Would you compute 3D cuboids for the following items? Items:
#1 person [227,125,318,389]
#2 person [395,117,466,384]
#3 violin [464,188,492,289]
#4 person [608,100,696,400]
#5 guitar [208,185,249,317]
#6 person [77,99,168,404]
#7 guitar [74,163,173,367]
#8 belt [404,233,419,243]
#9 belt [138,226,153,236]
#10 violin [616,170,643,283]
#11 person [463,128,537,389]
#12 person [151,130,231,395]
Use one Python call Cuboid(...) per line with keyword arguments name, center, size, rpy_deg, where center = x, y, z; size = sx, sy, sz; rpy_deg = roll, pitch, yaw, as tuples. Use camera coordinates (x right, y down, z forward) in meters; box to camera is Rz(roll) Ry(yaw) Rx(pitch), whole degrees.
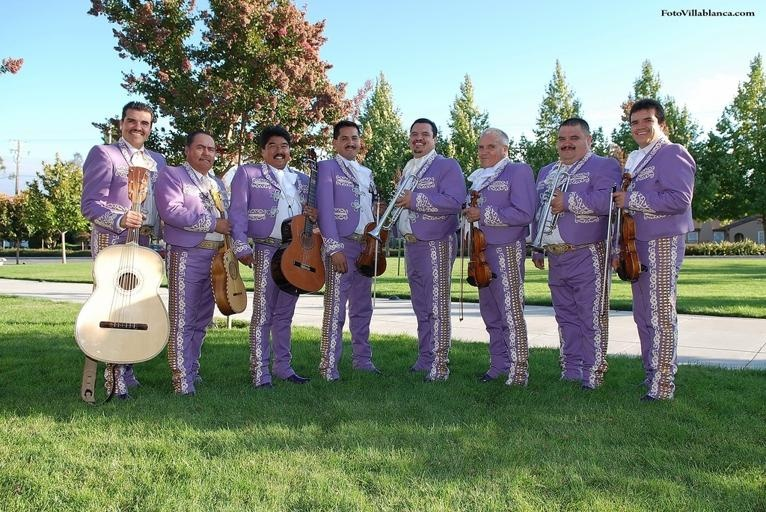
Cuboid(name="person", center=(-1.393, -0.058, 10.540), size=(1.352, 3.413, 1.149), rpy_deg=(0, -2, -5))
Cuboid(name="person", center=(0.555, -0.087, 10.562), size=(0.854, 3.365, 1.132), rpy_deg=(1, -2, -23))
Cuboid(name="violin", center=(1.161, -0.190, 9.979), size=(0.211, 1.131, 0.419), rpy_deg=(-10, 5, -16))
Cuboid(name="person", center=(3.265, -0.118, 9.672), size=(0.860, 3.530, 0.596), rpy_deg=(1, 0, 20))
Cuboid(name="guitar", center=(-1.922, -0.050, 9.979), size=(0.481, 1.549, 0.512), rpy_deg=(0, -2, -12))
Cuboid(name="person", center=(-3.133, -0.236, 10.070), size=(0.891, 3.160, 1.109), rpy_deg=(15, 15, 33))
Cuboid(name="guitar", center=(-3.027, 0.110, 9.570), size=(1.022, 2.492, 0.366), rpy_deg=(5, -22, -17))
Cuboid(name="belt", center=(0.346, -0.235, 10.354), size=(0.119, 0.120, 0.036), rpy_deg=(-5, 12, 43))
Cuboid(name="belt", center=(-2.942, -0.315, 9.927), size=(0.110, 0.110, 0.033), rpy_deg=(-7, 10, -44))
Cuboid(name="violin", center=(2.902, -0.315, 9.611), size=(0.285, 1.227, 0.320), rpy_deg=(0, -1, -2))
Cuboid(name="person", center=(1.466, -0.068, 10.198), size=(1.150, 3.479, 0.943), rpy_deg=(0, -1, 11))
Cuboid(name="person", center=(-2.264, 0.025, 10.082), size=(0.880, 3.181, 1.113), rpy_deg=(-1, -4, 24))
